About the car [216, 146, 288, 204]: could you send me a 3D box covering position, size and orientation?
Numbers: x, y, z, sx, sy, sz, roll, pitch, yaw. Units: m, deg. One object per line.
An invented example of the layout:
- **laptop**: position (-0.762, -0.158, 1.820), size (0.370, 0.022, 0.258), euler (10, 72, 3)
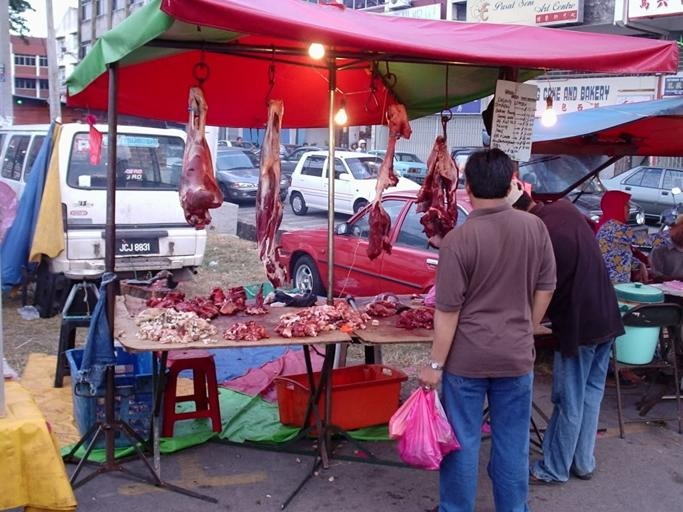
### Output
- **car**: position (-3.275, -2.504, 18.519), size (1.966, 1.488, 4.343), euler (-4, 8, -30)

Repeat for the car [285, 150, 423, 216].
- **car**: position (0.082, -2.024, 16.405), size (3.467, 1.738, 2.078), euler (4, 9, 43)

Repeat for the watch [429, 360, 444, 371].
- **watch**: position (0.578, 0.677, 3.683), size (0.069, 0.052, 0.069), euler (5, -2, 0)

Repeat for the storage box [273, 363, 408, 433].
- **storage box**: position (-0.002, 1.235, 5.238), size (0.935, 0.367, 0.606), euler (-2, 2, -22)

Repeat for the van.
- **van**: position (-3.560, -0.926, 8.828), size (2.142, 1.712, 3.244), euler (-6, 18, -36)

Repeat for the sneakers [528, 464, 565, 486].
- **sneakers**: position (1.547, 1.672, 4.553), size (0.165, 0.055, 0.128), euler (0, 26, -2)

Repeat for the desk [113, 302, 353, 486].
- **desk**: position (-0.880, 1.077, 4.448), size (1.406, 0.766, 1.384), euler (-2, 6, -12)

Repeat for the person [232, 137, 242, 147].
- **person**: position (-4.574, -4.997, 26.247), size (0.489, 0.373, 0.807), euler (-2, 10, -12)

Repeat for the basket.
- **basket**: position (-2.070, 1.123, 4.950), size (0.944, 0.552, 0.712), euler (14, -4, 25)

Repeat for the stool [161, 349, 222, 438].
- **stool**: position (-1.334, 1.158, 5.157), size (0.584, 0.632, 0.578), euler (2, 3, 0)

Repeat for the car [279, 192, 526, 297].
- **car**: position (0.296, -0.035, 7.806), size (2.184, 1.070, 1.307), euler (13, 15, 38)

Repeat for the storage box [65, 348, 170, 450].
- **storage box**: position (-1.936, 1.112, 5.065), size (0.687, 0.579, 0.975), euler (0, 5, -20)

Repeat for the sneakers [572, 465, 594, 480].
- **sneakers**: position (1.852, 1.688, 4.654), size (0.067, 0.075, 0.185), euler (-4, 1, -37)
